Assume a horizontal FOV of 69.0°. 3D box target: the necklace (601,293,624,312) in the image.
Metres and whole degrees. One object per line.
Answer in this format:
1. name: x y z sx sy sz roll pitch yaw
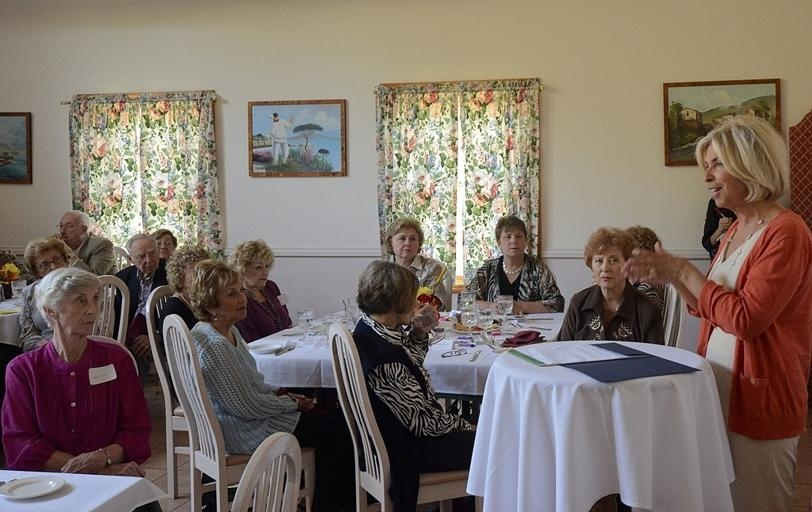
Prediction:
1. necklace: 1.185 0.273 3.415 0.079 0.078 0.100 2 4 21

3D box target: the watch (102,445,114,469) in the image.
1. watch: -1.404 0.949 2.780 0.024 0.069 0.062 -9 -26 22

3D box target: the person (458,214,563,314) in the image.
1. person: 0.823 0.115 4.569 0.800 0.770 0.574 2 9 25

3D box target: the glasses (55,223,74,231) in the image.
1. glasses: -3.397 -0.282 5.871 0.158 0.074 0.172 0 -2 4

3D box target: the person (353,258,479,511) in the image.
1. person: 0.035 0.612 2.889 0.587 1.164 0.381 -2 7 -8

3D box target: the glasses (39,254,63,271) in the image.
1. glasses: -2.631 0.048 4.350 0.110 0.063 0.140 -5 10 -30
